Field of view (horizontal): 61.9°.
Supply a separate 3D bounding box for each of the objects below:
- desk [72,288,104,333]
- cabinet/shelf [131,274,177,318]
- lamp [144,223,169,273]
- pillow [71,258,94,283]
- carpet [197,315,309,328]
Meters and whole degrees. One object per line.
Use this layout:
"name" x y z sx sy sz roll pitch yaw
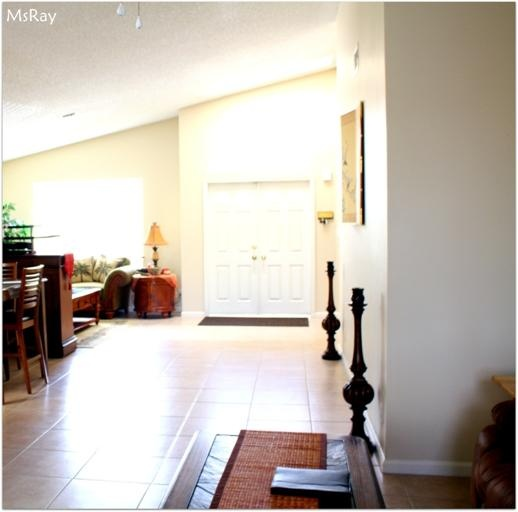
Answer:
"desk" -2.659 0.863 7.070 0.401 0.531 0.977 -16 0 -37
"cabinet/shelf" -1.782 0.625 7.257 0.638 0.758 0.687 0 -1 -7
"lamp" -1.831 -0.166 7.672 0.367 0.889 0.877 -1 3 -12
"pillow" -3.075 0.270 7.496 0.310 0.387 0.130 -2 -8 1
"carpet" -0.079 1.052 6.975 1.711 0.016 0.838 0 3 3
